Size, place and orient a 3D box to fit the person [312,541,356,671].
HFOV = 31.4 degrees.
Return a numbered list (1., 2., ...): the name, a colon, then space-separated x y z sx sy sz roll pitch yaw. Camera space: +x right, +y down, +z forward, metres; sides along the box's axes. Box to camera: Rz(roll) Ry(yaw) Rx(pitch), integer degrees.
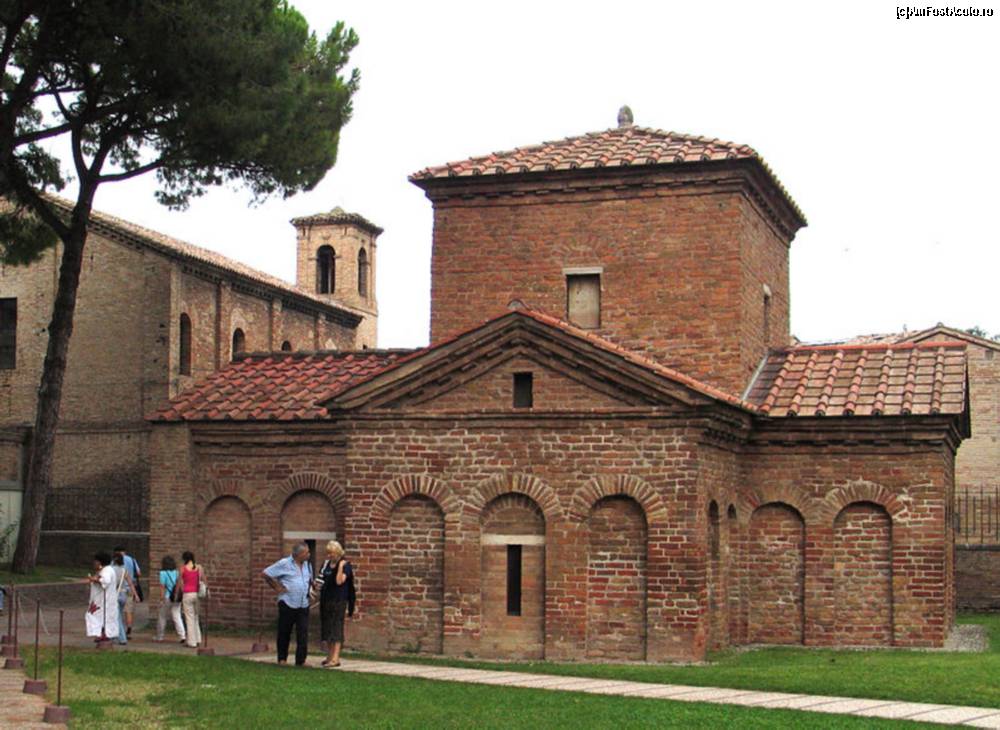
1. person: -3.777 5.580 40.422 0.819 2.853 1.128 2 -14 -6
